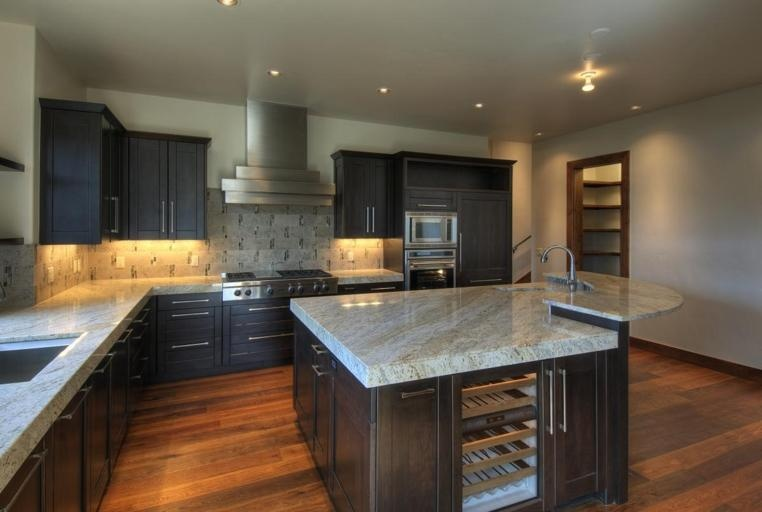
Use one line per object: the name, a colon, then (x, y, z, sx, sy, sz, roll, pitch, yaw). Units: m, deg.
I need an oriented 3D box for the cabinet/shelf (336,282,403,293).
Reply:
cabinet/shelf: (-0.120, 0.400, 6.635, 0.862, 0.123, 0.223, -3, 5, -35)

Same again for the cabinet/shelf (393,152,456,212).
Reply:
cabinet/shelf: (0.552, -0.998, 7.063, 0.891, 0.837, 0.363, 0, -3, -27)

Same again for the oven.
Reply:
oven: (0.685, -0.027, 7.209, 0.786, 1.314, 0.685, -3, 15, -7)

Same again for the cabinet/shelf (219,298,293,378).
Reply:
cabinet/shelf: (-1.501, 0.875, 6.431, 1.192, 1.120, 0.702, 3, -4, -28)

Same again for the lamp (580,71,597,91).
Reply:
lamp: (2.223, -1.869, 5.632, 0.194, 0.213, 0.201, 0, 7, 20)

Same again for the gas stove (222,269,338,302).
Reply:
gas stove: (-1.247, 0.350, 6.381, 1.382, 0.269, 0.523, -2, 5, -22)

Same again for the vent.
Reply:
vent: (-1.264, -1.356, 6.664, 1.398, 1.251, 0.527, 3, 20, 0)

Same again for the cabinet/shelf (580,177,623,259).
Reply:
cabinet/shelf: (3.326, -0.565, 7.877, 0.516, 1.134, 0.674, 1, 5, 20)

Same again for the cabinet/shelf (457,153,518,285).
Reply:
cabinet/shelf: (1.489, -0.482, 7.302, 0.911, 1.747, 0.387, -5, 6, -44)
